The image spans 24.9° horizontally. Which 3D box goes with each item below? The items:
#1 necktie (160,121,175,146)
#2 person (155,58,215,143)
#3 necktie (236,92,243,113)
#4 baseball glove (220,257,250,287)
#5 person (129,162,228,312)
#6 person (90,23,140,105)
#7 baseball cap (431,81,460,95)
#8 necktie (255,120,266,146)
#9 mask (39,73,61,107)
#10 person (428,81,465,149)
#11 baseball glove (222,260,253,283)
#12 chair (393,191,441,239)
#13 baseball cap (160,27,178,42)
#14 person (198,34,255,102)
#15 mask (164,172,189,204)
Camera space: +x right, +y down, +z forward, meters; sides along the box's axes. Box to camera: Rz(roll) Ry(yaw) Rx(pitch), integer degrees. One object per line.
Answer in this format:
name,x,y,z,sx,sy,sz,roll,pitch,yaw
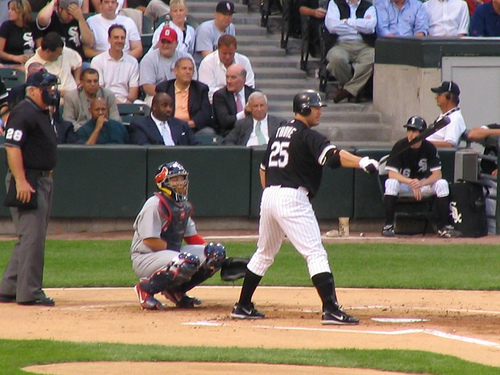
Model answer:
necktie,-1.298,-0.792,17.384,0.129,0.521,0.173,-19,-2,-10
person,-0.998,-1.441,17.848,0.840,1.195,0.313,-1,12,-5
necktie,-0.174,-1.352,17.952,0.101,0.296,0.110,-2,12,-9
baseball glove,-0.200,1.000,13.464,0.434,0.175,0.198,-16,-26,36
person,-0.898,0.616,13.383,1.018,1.768,0.666,-2,12,-11
person,-2.187,-2.002,18.311,0.735,1.239,0.421,-2,12,-7
baseball cap,3.011,-1.525,17.345,0.318,0.184,0.206,2,8,7
necktie,0.141,-0.823,17.451,0.218,0.341,0.093,-3,4,9
mask,-2.379,-1.159,13.566,0.325,0.358,0.246,2,2,40
person,3.014,-1.117,17.268,0.662,1.064,0.928,1,10,5
baseball glove,-0.131,0.989,13.351,0.471,0.189,0.212,-6,-23,41
chair,2.558,0.434,17.333,0.604,0.848,0.726,0,-7,12
baseball cap,-1.322,-2.446,18.175,0.270,0.224,0.179,-1,12,-6
person,-0.380,-1.898,18.451,0.812,1.152,1.267,0,30,-2
mask,-0.895,-0.001,13.390,0.275,0.322,0.321,1,3,-35
